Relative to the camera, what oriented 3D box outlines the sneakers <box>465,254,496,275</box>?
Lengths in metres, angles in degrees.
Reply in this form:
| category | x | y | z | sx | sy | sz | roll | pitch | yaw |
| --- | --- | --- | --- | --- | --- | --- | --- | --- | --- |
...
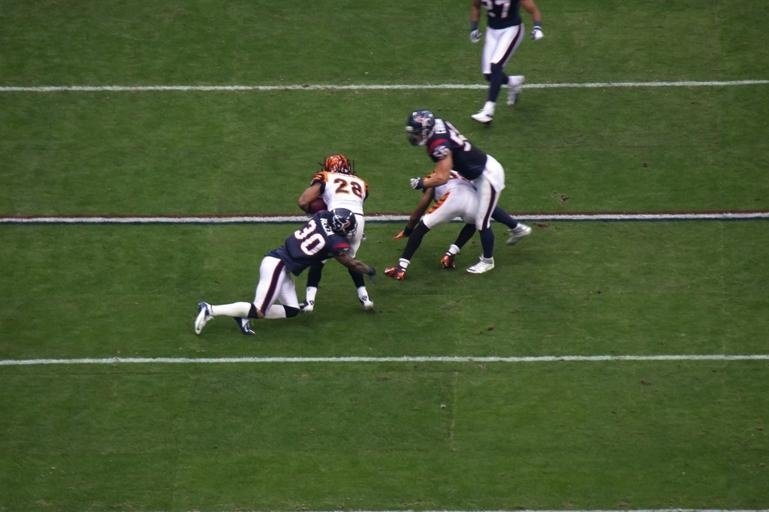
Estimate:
| category | x | y | z | sx | sy | sz | roll | pitch | yaw |
| --- | --- | --- | --- | --- | --- | --- | --- | --- | --- |
| sneakers | 1.381 | 0.151 | 22.657 | 0.447 | 0.175 | 0.163 | -17 | 60 | 7 |

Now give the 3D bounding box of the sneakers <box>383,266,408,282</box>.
| category | x | y | z | sx | sy | sz | roll | pitch | yaw |
| --- | --- | --- | --- | --- | --- | --- | --- | --- | --- |
| sneakers | 0.197 | 0.246 | 22.590 | 0.173 | 0.123 | 0.355 | -39 | 18 | -8 |

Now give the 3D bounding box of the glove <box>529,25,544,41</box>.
| category | x | y | z | sx | sy | sz | roll | pitch | yaw |
| --- | --- | --- | --- | --- | --- | --- | --- | --- | --- |
| glove | 2.299 | -3.249 | 24.361 | 0.150 | 0.132 | 0.326 | 4 | 48 | -3 |

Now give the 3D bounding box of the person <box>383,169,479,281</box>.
| category | x | y | z | sx | sy | sz | roll | pitch | yaw |
| --- | --- | --- | --- | --- | --- | --- | --- | --- | --- |
| person | 0.719 | -0.423 | 22.379 | 1.314 | 0.838 | 1.493 | 18 | 64 | 8 |

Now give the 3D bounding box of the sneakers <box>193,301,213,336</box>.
| category | x | y | z | sx | sy | sz | roll | pitch | yaw |
| --- | --- | --- | --- | --- | --- | --- | --- | --- | --- |
| sneakers | -2.372 | 0.828 | 21.782 | 0.233 | 0.434 | 0.254 | 8 | 55 | -34 |

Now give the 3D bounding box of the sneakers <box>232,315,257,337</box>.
| category | x | y | z | sx | sy | sz | roll | pitch | yaw |
| --- | --- | --- | --- | --- | --- | --- | --- | --- | --- |
| sneakers | -1.825 | 0.930 | 21.926 | 0.204 | 0.409 | 0.119 | -23 | 56 | 19 |

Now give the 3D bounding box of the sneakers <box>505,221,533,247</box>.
| category | x | y | z | sx | sy | sz | roll | pitch | yaw |
| --- | --- | --- | --- | --- | --- | --- | --- | --- | --- |
| sneakers | 1.904 | -0.279 | 22.986 | 0.227 | 0.464 | 0.142 | 18 | 65 | -14 |

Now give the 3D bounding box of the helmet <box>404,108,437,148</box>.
| category | x | y | z | sx | sy | sz | roll | pitch | yaw |
| --- | --- | --- | --- | --- | --- | --- | --- | --- | --- |
| helmet | 0.524 | -1.635 | 22.286 | 0.368 | 0.593 | 0.334 | 7 | 50 | 2 |

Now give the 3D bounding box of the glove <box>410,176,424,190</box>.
| category | x | y | z | sx | sy | sz | roll | pitch | yaw |
| --- | --- | --- | --- | --- | --- | --- | --- | --- | --- |
| glove | 0.490 | -0.940 | 22.290 | 0.176 | 0.067 | 0.176 | 4 | 23 | 5 |

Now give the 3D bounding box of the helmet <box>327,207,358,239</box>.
| category | x | y | z | sx | sy | sz | roll | pitch | yaw |
| --- | --- | --- | --- | --- | --- | --- | --- | --- | --- |
| helmet | -0.501 | -0.438 | 21.608 | 0.327 | 0.409 | 0.249 | -13 | 79 | 33 |

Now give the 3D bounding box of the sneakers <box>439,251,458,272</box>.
| category | x | y | z | sx | sy | sz | roll | pitch | yaw |
| --- | --- | --- | --- | --- | --- | --- | --- | --- | --- |
| sneakers | 0.920 | 0.080 | 22.662 | 0.187 | 0.110 | 0.262 | 18 | 25 | 16 |

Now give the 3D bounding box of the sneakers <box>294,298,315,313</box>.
| category | x | y | z | sx | sy | sz | roll | pitch | yaw |
| --- | --- | --- | --- | --- | --- | --- | --- | --- | --- |
| sneakers | -0.989 | 0.663 | 22.017 | 0.119 | 0.117 | 0.282 | 8 | 9 | -8 |

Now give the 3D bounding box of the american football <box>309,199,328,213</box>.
| category | x | y | z | sx | sy | sz | roll | pitch | yaw |
| --- | --- | --- | --- | --- | --- | --- | --- | --- | --- |
| american football | -0.832 | -0.640 | 22.140 | 0.237 | 0.163 | 0.200 | -3 | 19 | 8 |

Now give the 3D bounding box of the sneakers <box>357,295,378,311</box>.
| category | x | y | z | sx | sy | sz | roll | pitch | yaw |
| --- | --- | --- | --- | --- | --- | --- | --- | --- | --- |
| sneakers | -0.170 | 0.641 | 22.163 | 0.136 | 0.146 | 0.233 | -19 | 61 | -30 |

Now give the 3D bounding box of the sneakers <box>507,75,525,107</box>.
| category | x | y | z | sx | sy | sz | roll | pitch | yaw |
| --- | --- | --- | --- | --- | --- | --- | --- | --- | --- |
| sneakers | 2.014 | -2.413 | 24.792 | 0.275 | 0.502 | 0.161 | -5 | 59 | -5 |
